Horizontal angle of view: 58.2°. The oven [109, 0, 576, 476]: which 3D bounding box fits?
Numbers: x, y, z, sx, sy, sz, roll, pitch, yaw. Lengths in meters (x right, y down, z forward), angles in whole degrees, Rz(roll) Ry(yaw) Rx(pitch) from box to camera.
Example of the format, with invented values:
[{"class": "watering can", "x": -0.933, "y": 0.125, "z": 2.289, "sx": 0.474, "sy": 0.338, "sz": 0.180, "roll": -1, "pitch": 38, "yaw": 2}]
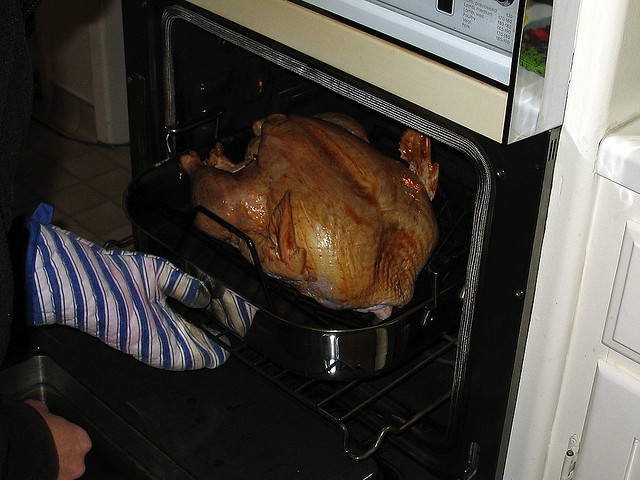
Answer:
[{"class": "oven", "x": 0.023, "y": -0.053, "z": 0.972, "sx": 0.741, "sy": 0.716, "sz": 0.436, "roll": 19, "pitch": 31, "yaw": 32}]
